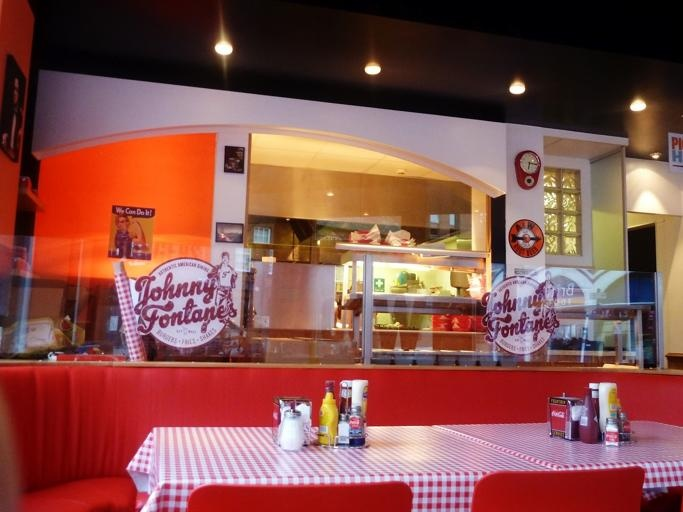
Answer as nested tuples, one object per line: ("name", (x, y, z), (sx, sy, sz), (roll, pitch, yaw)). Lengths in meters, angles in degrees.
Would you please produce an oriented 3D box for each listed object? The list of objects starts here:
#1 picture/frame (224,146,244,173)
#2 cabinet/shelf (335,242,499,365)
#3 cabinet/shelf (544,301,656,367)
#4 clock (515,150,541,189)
("picture/frame", (-0.952, -0.839, 4.957), (0.214, 0.293, 0.030), (4, -14, -17))
("cabinet/shelf", (0.453, 0.269, 3.674), (0.968, 0.593, 0.739), (16, 9, 15))
("cabinet/shelf", (1.570, 0.473, 3.403), (0.696, 0.369, 0.088), (2, -7, -12))
("clock", (1.814, -0.848, 5.542), (0.334, 0.461, 0.114), (4, -10, -23))
